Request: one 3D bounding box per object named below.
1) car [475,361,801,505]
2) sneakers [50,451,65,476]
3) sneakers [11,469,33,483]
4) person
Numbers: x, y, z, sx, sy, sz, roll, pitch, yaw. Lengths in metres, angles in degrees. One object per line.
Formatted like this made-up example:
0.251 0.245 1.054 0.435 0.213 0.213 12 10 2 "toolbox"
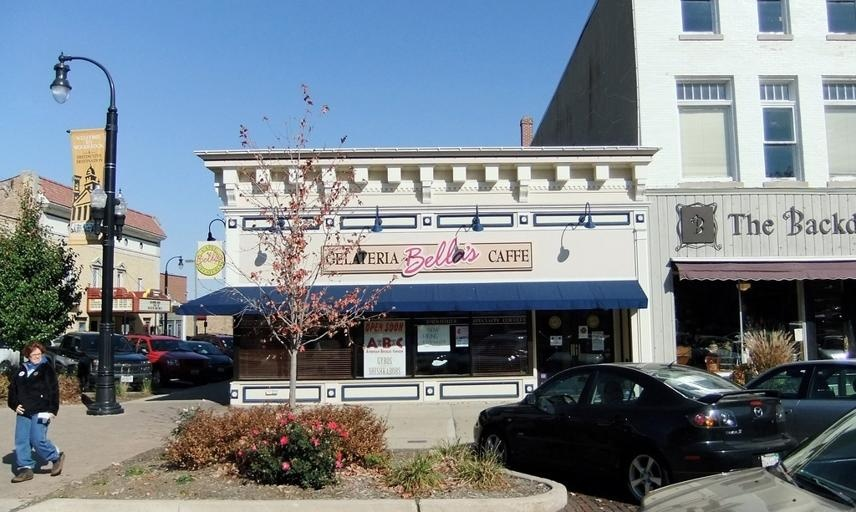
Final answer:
4.954 4.215 24.269 7.146 2.631 3.369 -3 -8 37 "car"
-9.440 5.328 24.784 0.273 0.659 0.239 13 -14 5 "sneakers"
-10.186 5.533 24.423 0.260 0.205 0.516 -1 -7 6 "sneakers"
-10.086 4.005 24.909 1.303 3.475 1.011 3 -9 -22 "person"
